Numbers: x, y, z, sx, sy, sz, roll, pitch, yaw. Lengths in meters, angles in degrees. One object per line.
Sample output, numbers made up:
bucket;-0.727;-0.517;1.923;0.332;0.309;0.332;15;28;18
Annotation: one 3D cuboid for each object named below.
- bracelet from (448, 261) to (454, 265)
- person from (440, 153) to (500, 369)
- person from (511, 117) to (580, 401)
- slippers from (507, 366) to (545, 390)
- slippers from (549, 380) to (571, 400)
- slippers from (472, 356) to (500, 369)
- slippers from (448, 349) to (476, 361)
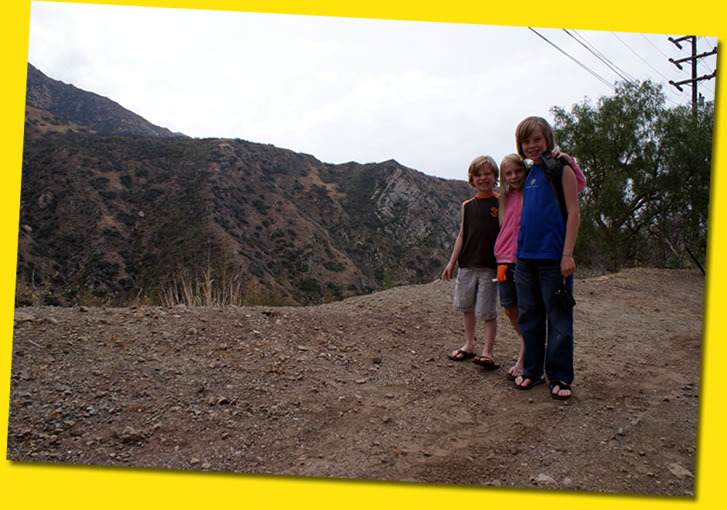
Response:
bracelet;0.934;0.079;5.556;0.042;0.048;0.048;34;-3;12
person;1.225;0.093;5.643;0.517;2.264;0.350;-2;-3;17
person;1.797;0.013;5.160;0.627;2.766;0.294;-2;-3;20
slippers;1.599;1.258;5.321;0.252;0.075;0.180;-14;25;-25
slippers;1.912;1.307;5.054;0.202;0.169;0.148;-2;-3;20
slippers;1.290;1.151;5.546;0.235;0.071;0.127;28;-29;-30
slippers;1.085;1.103;5.762;0.244;0.073;0.128;2;-2;-11
